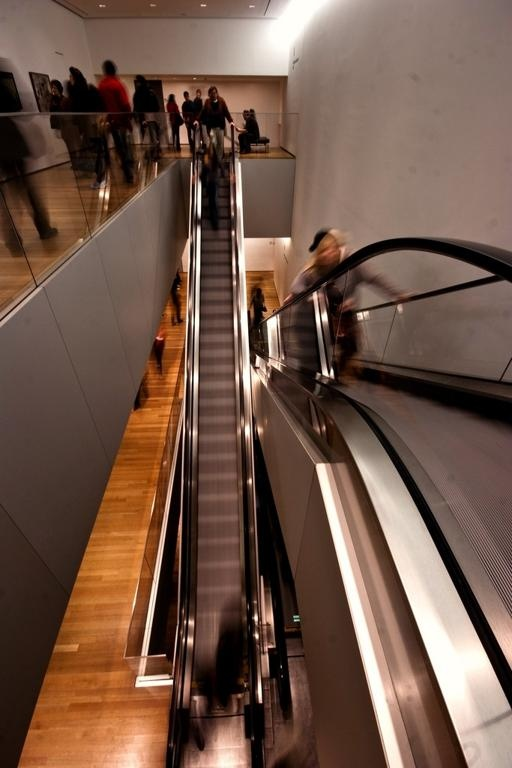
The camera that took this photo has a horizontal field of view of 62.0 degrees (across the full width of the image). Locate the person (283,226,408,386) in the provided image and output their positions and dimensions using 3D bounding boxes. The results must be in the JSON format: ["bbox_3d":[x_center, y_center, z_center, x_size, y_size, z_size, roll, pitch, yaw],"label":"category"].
[{"bbox_3d":[0.586,-0.446,3.362,0.813,0.409,1.686,-1,63,9],"label":"person"}]

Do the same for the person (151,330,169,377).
[{"bbox_3d":[-2.311,-0.794,10.089,0.315,1.075,1.257,-4,28,-14],"label":"person"}]
